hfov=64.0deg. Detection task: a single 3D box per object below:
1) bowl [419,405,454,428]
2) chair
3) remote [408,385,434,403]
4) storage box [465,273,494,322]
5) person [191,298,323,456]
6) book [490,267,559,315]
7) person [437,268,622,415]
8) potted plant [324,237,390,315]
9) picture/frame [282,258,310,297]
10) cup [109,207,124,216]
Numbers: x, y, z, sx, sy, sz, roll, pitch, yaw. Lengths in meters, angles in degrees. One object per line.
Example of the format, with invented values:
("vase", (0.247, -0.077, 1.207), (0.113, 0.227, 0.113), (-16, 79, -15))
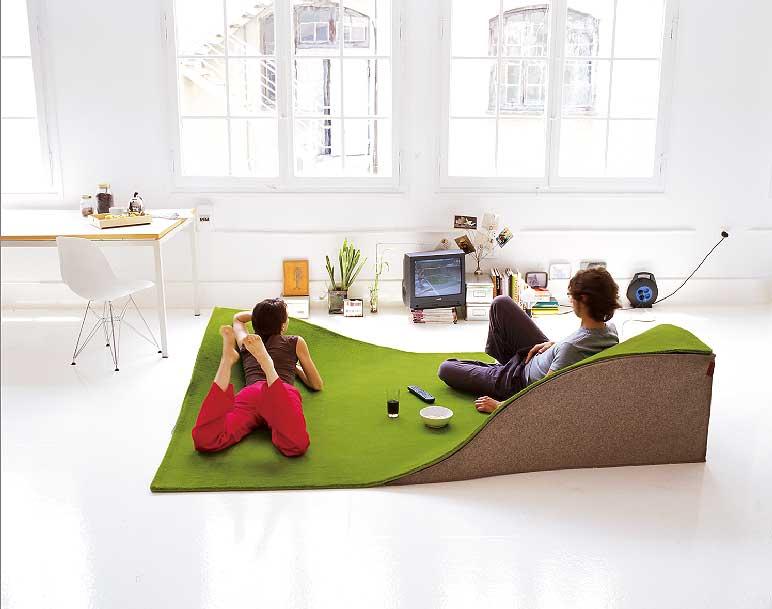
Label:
("bowl", (0.285, 0.626, 3.466), (0.184, 0.092, 0.168), (1, 14, 0))
("chair", (-2.184, 0.000, 4.862), (0.617, 1.120, 0.774), (8, 18, 20))
("remote", (0.219, 0.536, 3.826), (0.058, 0.043, 0.200), (-5, 15, -19))
("storage box", (0.804, -0.056, 5.724), (0.227, 0.389, 0.425), (0, 9, 2))
("person", (-0.684, 0.396, 3.482), (0.637, 0.495, 1.106), (-2, 19, 3))
("book", (1.284, -0.115, 5.652), (0.546, 0.218, 0.441), (-5, 17, -22))
("person", (0.781, 0.178, 3.534), (0.562, 0.916, 1.026), (-6, 16, -25))
("potted plant", (-0.276, -0.260, 5.743), (0.568, 0.662, 0.286), (-1, 14, -8))
("picture/frame", (-0.843, -0.255, 5.769), (0.316, 0.472, 0.057), (0, 5, -2))
("cup", (-2.112, -0.726, 4.848), (0.088, 0.059, 0.086), (1, 15, 0))
